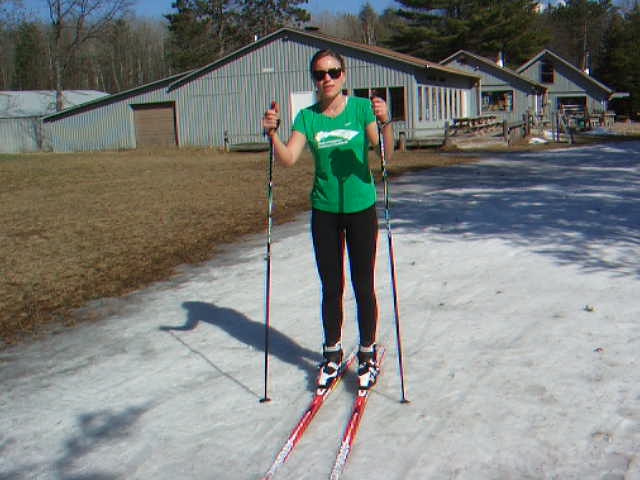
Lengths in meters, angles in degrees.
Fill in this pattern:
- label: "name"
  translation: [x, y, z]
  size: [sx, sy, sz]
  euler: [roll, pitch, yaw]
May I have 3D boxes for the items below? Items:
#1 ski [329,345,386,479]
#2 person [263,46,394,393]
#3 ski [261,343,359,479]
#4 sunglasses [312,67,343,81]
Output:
- label: "ski"
  translation: [0.353, 1.074, 4.136]
  size: [0.150, 0.083, 1.622]
  euler: [-4, 30, 25]
- label: "person"
  translation: [0.127, -0.124, 4.212]
  size: [0.822, 2.521, 0.568]
  euler: [-1, 10, 7]
- label: "ski"
  translation: [-0.068, 1.232, 4.016]
  size: [0.101, 0.062, 1.195]
  euler: [-13, 24, 32]
- label: "sunglasses"
  translation: [0.049, -1.183, 4.071]
  size: [0.212, 0.089, 0.086]
  euler: [-3, 11, -1]
